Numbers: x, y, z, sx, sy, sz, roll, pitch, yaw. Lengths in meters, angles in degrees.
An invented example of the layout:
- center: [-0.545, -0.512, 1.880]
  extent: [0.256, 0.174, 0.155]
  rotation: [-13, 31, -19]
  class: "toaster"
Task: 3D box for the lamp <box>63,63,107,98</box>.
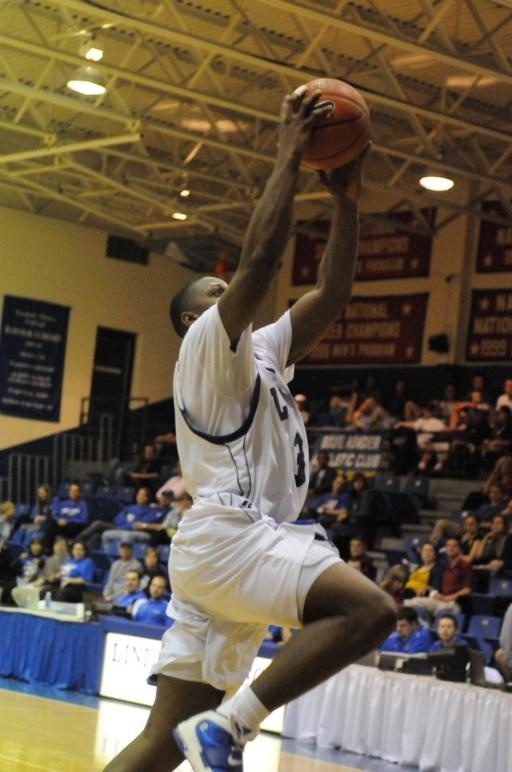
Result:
- center: [-2.456, -4.244, 8.767]
  extent: [0.556, 0.328, 0.543]
  rotation: [4, -2, 6]
  class: "lamp"
